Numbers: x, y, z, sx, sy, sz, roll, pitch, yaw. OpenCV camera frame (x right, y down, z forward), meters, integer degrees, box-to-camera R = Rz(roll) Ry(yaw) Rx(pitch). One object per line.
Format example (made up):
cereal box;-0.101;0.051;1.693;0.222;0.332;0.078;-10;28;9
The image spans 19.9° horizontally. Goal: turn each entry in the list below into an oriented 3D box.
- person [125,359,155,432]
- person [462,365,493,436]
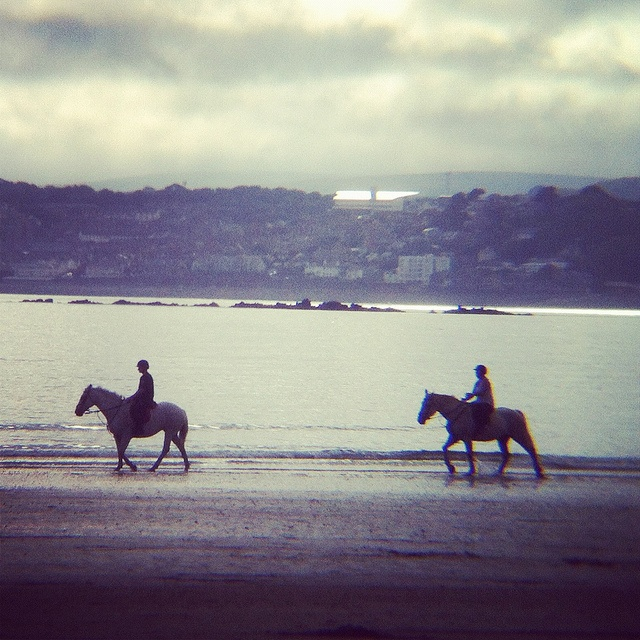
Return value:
person;-5.503;2.628;56.414;0.748;2.089;0.511;0;6;-5
person;4.903;2.431;56.886;0.917;2.154;1.569;1;6;5
